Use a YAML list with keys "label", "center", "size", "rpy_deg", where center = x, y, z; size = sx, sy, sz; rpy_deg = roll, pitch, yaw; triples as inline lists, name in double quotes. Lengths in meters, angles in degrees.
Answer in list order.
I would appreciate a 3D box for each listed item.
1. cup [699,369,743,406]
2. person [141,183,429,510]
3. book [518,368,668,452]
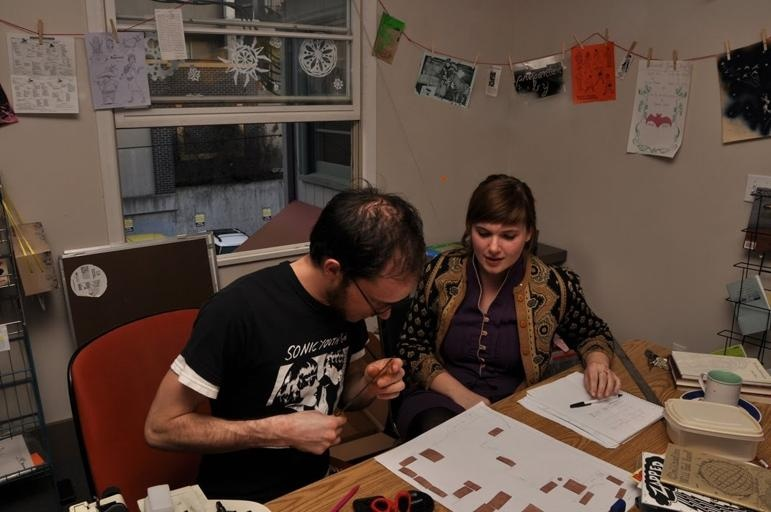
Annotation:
- label: "cup"
  center: [1.173, 0.459, 1.843]
  size: [0.106, 0.097, 0.132]
  rpy_deg: [-7, 8, -43]
- label: "person"
  center: [-0.295, 0.244, 1.637]
  size: [0.818, 0.852, 0.440]
  rpy_deg: [-14, 19, -39]
- label: "book"
  center: [0.738, 0.557, 1.908]
  size: [0.254, 0.044, 0.240]
  rpy_deg: [-19, 22, -40]
